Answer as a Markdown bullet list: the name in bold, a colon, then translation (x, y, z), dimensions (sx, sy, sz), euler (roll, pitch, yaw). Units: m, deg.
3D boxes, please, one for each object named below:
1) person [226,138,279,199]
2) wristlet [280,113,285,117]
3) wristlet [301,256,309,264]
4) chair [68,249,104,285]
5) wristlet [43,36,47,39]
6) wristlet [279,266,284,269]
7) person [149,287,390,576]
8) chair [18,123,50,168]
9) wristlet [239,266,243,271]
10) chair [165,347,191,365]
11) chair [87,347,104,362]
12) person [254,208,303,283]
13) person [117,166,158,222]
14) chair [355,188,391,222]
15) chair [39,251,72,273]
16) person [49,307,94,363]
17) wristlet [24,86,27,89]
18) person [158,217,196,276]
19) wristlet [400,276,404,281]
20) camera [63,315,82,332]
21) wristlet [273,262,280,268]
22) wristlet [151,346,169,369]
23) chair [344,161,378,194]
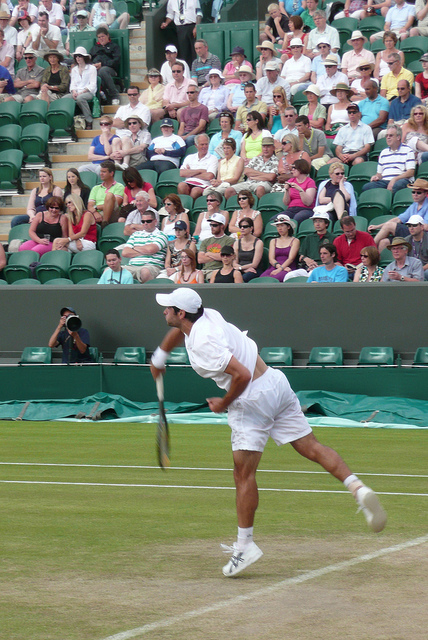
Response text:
- **person**: translation (0.585, -1.935, 11.613), dimensions (0.512, 1.140, 0.770), euler (15, 21, 30)
- **wristlet**: translation (0.996, -2.997, 12.328), dimensions (0.094, 0.037, 0.122), euler (-2, 4, 5)
- **wristlet**: translation (1.100, -0.732, 10.168), dimensions (0.121, 0.103, 0.027), euler (-1, 1, 13)
- **chair**: translation (-1.693, -0.686, 11.314), dimensions (0.501, 0.583, 0.467), euler (0, -8, 11)
- **wristlet**: translation (-3.362, -5.598, 16.678), dimensions (0.063, 0.066, 0.154), euler (-2, 11, 0)
- **wristlet**: translation (0.816, -0.634, 10.201), dimensions (0.037, 0.030, 0.018), euler (-1, 12, 5)
- **person**: translation (0.212, 0.424, 3.517), dimensions (0.715, 1.090, 0.704), euler (-5, 13, -14)
- **chair**: translation (-3.041, -2.968, 14.218), dimensions (0.523, 0.631, 0.535), euler (0, 22, 9)
- **wristlet**: translation (0.320, -0.623, 10.248), dimensions (0.045, 0.053, 0.070), euler (-2, 12, 2)
- **chair**: translation (-0.388, 0.435, 9.991), dimensions (0.379, 0.231, 0.349), euler (0, -3, 0)
- **chair**: translation (-1.502, 0.425, 10.412), dimensions (0.183, 0.207, 0.184), euler (2, -5, -13)
- **person**: translation (0.755, -0.883, 10.214), dimensions (0.543, 0.791, 0.577), euler (2, 13, 18)
- **person**: translation (-1.095, -1.745, 11.733), dimensions (0.559, 0.752, 0.816), euler (-4, 12, -7)
- **chair**: translation (2.046, -1.429, 10.699), dimensions (0.498, 0.480, 0.442), euler (4, 3, 26)
- **chair**: translation (-2.115, -0.770, 11.373), dimensions (0.347, 0.374, 0.345), euler (-1, 0, 0)
- **person**: translation (-1.707, 0.182, 10.176), dimensions (0.464, 0.716, 0.559), euler (-9, 14, -29)
- **wristlet**: translation (-3.489, -4.291, 15.517), dimensions (0.062, 0.053, 0.014), euler (6, 9, 10)
- **person**: translation (-0.483, -0.937, 10.763), dimensions (0.447, 0.702, 0.624), euler (3, 13, 22)
- **wristlet**: translation (2.104, -0.464, 9.406), dimensions (0.040, 0.031, 0.036), euler (-9, -30, -22)
- **camera**: translation (-1.671, 0.042, 9.941), dimensions (0.164, 0.180, 0.145), euler (-9, 17, -21)
- **wristlet**: translation (0.762, -0.674, 10.252), dimensions (0.073, 0.072, 0.031), euler (1, 6, -16)
- **wristlet**: translation (-0.268, 0.191, 4.145), dimensions (0.093, 0.078, 0.099), euler (6, 32, -2)
- **chair**: translation (1.973, -1.887, 11.292), dimensions (0.486, 0.524, 0.482), euler (2, 6, 20)
